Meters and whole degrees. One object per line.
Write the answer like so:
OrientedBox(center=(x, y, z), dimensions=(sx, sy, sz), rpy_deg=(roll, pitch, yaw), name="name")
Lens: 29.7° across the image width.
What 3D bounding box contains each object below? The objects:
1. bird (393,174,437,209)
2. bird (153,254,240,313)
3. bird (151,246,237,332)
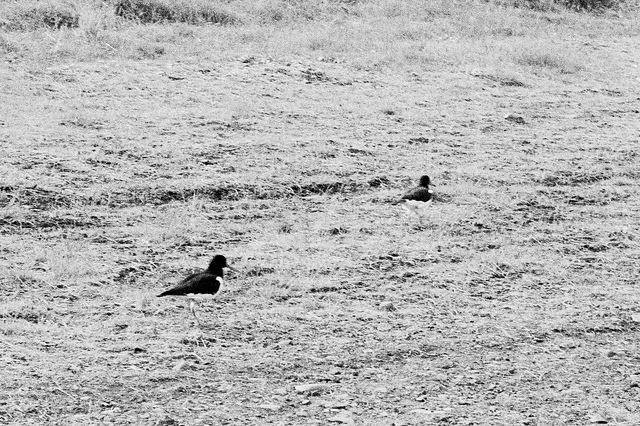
OrientedBox(center=(1.554, -0.317, 20.763), dimensions=(1.033, 0.560, 0.391), rpy_deg=(-7, 12, -43), name="bird")
OrientedBox(center=(-1.948, 1.096, 18.895), dimensions=(1.313, 0.727, 0.569), rpy_deg=(-8, 16, -19), name="bird")
OrientedBox(center=(-1.866, 1.151, 19.049), dimensions=(0.756, 0.984, 1.547), rpy_deg=(10, 23, 8), name="bird")
